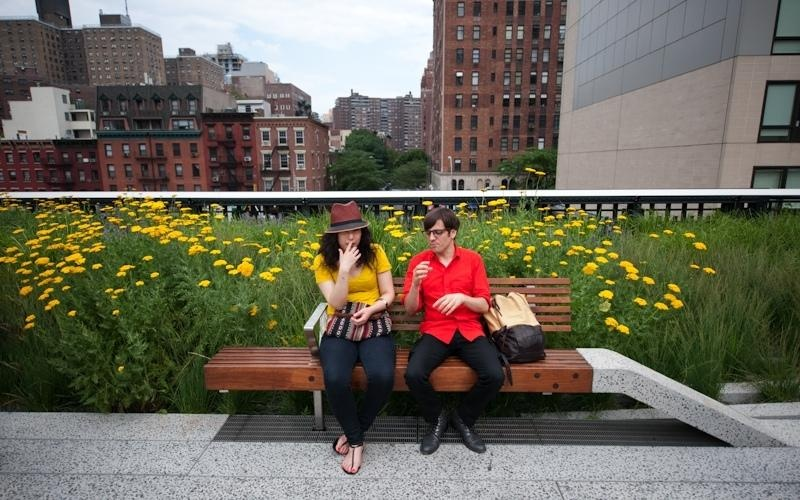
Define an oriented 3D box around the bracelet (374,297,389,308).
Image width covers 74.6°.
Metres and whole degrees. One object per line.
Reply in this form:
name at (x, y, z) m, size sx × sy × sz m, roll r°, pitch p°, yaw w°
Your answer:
bracelet at (-0.253, 0.778, 7.668) m, size 0.120 × 0.053 × 0.134 m, roll 26°, pitch -14°, yaw -34°
